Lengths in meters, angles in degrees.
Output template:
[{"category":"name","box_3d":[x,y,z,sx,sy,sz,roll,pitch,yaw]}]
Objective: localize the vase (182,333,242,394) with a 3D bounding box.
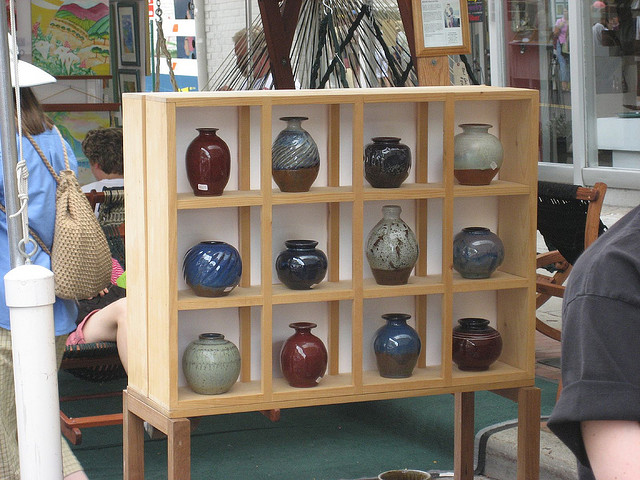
[{"category":"vase","box_3d":[-0.406,0.450,2.483,0.191,0.196,0.207,-7,-8,38]}]

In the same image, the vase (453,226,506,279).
[{"category":"vase","box_3d":[0.623,0.051,2.766,0.238,0.188,0.239,3,11,41]}]

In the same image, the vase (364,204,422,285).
[{"category":"vase","box_3d":[0.274,0.012,2.672,0.223,0.299,0.230,-2,14,0]}]

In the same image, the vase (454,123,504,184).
[{"category":"vase","box_3d":[0.615,-0.340,2.746,0.208,0.254,0.220,0,11,10]}]

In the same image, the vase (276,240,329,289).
[{"category":"vase","box_3d":[-0.069,0.091,2.596,0.196,0.175,0.202,3,8,20]}]

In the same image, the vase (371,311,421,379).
[{"category":"vase","box_3d":[0.257,0.406,2.659,0.210,0.269,0.206,1,2,-22]}]

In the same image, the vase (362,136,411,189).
[{"category":"vase","box_3d":[0.242,-0.288,2.581,0.175,0.184,0.189,-5,10,-29]}]

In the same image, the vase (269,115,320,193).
[{"category":"vase","box_3d":[-0.135,-0.304,2.471,0.227,0.351,0.239,-1,4,-11]}]

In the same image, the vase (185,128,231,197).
[{"category":"vase","box_3d":[-0.403,-0.277,2.437,0.138,0.237,0.148,-6,9,-35]}]

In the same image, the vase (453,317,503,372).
[{"category":"vase","box_3d":[0.608,0.391,2.706,0.181,0.164,0.197,1,1,27]}]

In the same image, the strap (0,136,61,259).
[{"category":"strap","box_3d":[-1.053,-0.155,2.511,0.212,0.441,0.125,-5,8,-26]}]

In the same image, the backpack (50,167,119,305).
[{"category":"backpack","box_3d":[-0.929,-0.021,2.616,0.188,0.465,0.337,-2,5,4]}]

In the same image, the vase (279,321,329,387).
[{"category":"vase","box_3d":[-0.063,0.429,2.583,0.186,0.263,0.192,-2,3,21]}]

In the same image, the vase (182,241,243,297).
[{"category":"vase","box_3d":[-0.380,0.103,2.387,0.186,0.173,0.183,1,-3,-3]}]
